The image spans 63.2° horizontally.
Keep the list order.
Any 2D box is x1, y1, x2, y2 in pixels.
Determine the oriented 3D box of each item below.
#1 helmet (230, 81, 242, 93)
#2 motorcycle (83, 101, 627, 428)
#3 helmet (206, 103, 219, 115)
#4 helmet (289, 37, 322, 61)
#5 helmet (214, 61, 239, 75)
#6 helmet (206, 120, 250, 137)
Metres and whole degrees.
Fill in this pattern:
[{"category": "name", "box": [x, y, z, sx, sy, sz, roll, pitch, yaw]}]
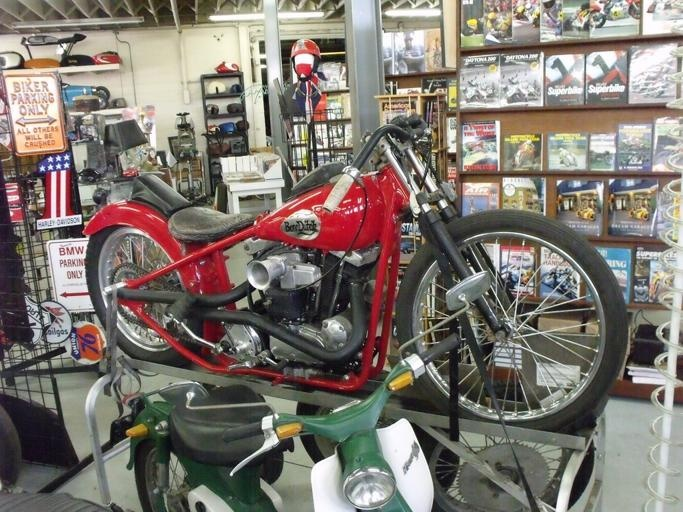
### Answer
[{"category": "helmet", "box": [-2.338, -3.715, 12.298, 0.224, 0.252, 0.181, -1, 19, -12]}, {"category": "motorcycle", "box": [-0.207, -0.104, 3.056, 3.010, 1.551, 1.312, 6, 17, 23]}, {"category": "helmet", "box": [-2.839, -3.186, 12.216, 0.180, 0.266, 0.249, -1, -7, 0]}, {"category": "helmet", "box": [-0.355, -1.951, 5.227, 0.250, 0.241, 0.681, -5, 13, -4]}, {"category": "helmet", "box": [-2.552, -4.148, 12.328, 0.448, 0.353, 0.156, -1, -33, -21]}, {"category": "helmet", "box": [-2.470, -2.756, 12.147, 0.438, 0.236, 0.610, -19, 20, -39]}]
